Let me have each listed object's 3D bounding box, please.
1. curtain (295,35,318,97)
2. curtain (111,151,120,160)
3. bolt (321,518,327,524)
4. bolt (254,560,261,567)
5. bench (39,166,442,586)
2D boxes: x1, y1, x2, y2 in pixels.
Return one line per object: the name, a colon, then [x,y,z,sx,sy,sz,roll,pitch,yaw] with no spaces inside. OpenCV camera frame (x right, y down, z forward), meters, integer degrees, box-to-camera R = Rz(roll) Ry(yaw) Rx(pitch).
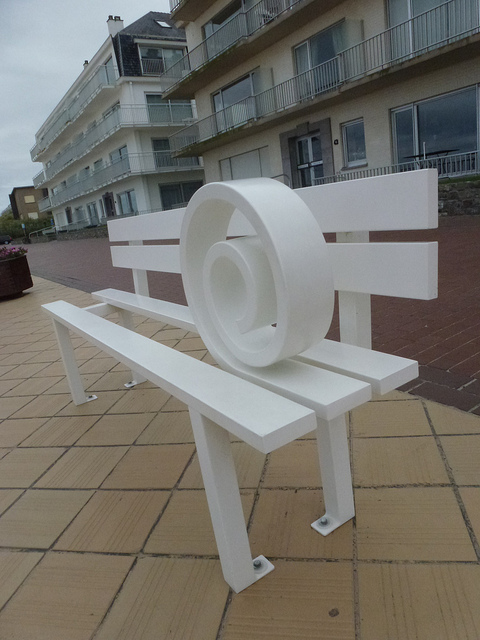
curtain: [2.424,-9.656,17.724,0.520,1.598,1.175,-17,18,-25]
curtain: [-9.061,-11.877,33.884,0.175,0.477,0.755,-26,13,-37]
bolt: [0.305,0.734,1.708,0.022,0.013,0.016,-6,16,6]
bolt: [0.056,0.804,1.547,0.021,0.006,0.025,-7,15,4]
bench: [-0.276,0.060,2.109,0.724,1.170,2.139,-17,18,-35]
